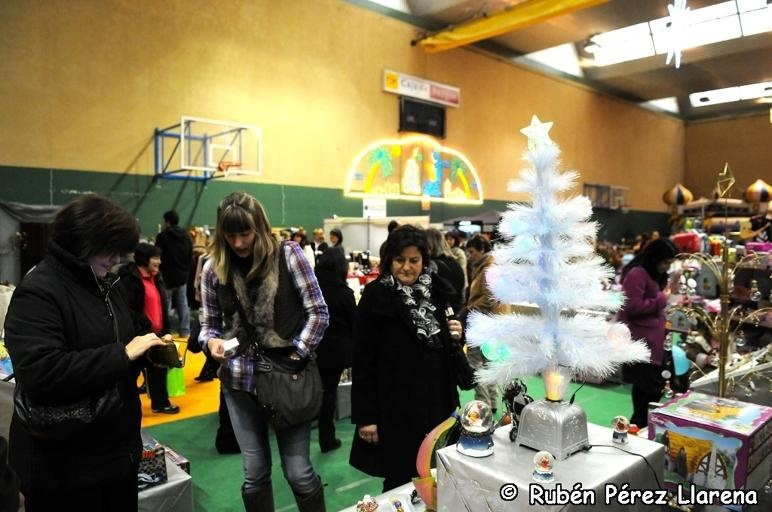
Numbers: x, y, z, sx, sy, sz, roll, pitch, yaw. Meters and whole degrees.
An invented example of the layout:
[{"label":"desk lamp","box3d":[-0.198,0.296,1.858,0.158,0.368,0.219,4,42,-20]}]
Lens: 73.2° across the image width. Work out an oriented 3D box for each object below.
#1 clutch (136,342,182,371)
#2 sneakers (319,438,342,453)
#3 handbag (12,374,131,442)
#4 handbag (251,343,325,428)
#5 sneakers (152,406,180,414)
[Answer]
[{"label":"clutch","box3d":[-1.078,0.499,2.525,0.150,0.060,0.147,-3,-31,17]},{"label":"sneakers","box3d":[-0.455,1.619,4.495,0.075,0.134,0.201,3,11,42]},{"label":"handbag","box3d":[-1.438,0.710,2.349,0.445,0.204,0.092,1,3,-9]},{"label":"handbag","box3d":[-0.538,0.697,2.797,0.405,0.485,0.252,3,-22,-41]},{"label":"sneakers","box3d":[-2.221,1.556,5.309,0.259,0.115,0.094,-2,-3,-1]}]
